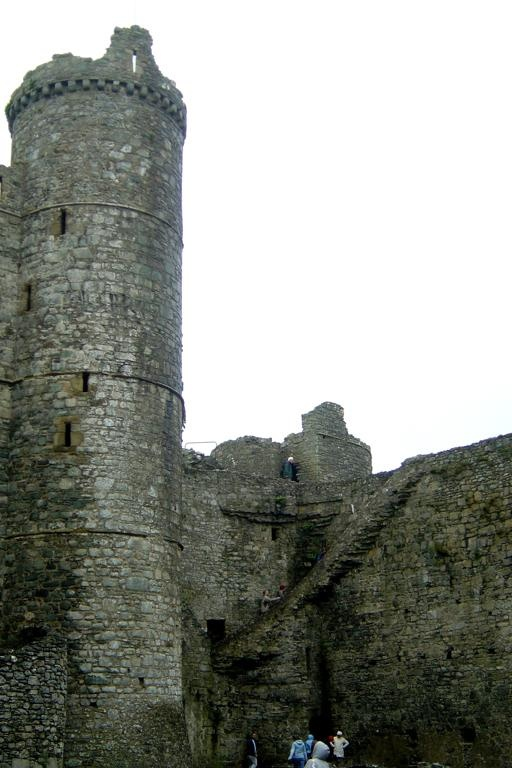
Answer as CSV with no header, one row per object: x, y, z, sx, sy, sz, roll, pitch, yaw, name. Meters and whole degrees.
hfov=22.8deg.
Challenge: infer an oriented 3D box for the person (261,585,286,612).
0.354,4.431,26.133,0.813,0.467,0.349,0,3,-32,person
